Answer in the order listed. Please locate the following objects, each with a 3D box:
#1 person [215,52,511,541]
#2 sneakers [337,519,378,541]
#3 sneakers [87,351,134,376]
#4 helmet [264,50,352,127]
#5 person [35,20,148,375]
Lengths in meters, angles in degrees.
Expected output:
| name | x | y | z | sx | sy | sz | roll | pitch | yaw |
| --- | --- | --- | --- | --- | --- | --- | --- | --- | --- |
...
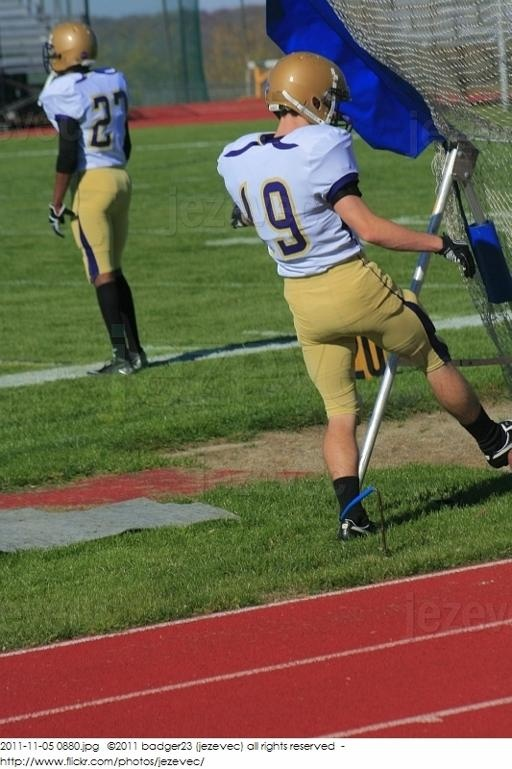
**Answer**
| name | x | y | z | sx | sy | sz | roll | pitch | yaw |
| --- | --- | --- | --- | --- | --- | --- | --- | --- | --- |
| person | 0.358 | -0.336 | 3.304 | 0.644 | 1.763 | 0.788 | 3 | 13 | 41 |
| sneakers | 0.373 | 0.534 | 3.296 | 0.188 | 0.069 | 0.061 | -8 | 10 | -40 |
| sneakers | -1.011 | -0.150 | 6.202 | 0.271 | 0.082 | 0.185 | -3 | 7 | -19 |
| helmet | 0.160 | -1.034 | 3.085 | 0.270 | 0.281 | 0.275 | -2 | 10 | 18 |
| person | -1.089 | -1.238 | 5.951 | 0.538 | 2.409 | 0.660 | -3 | 11 | 17 |
